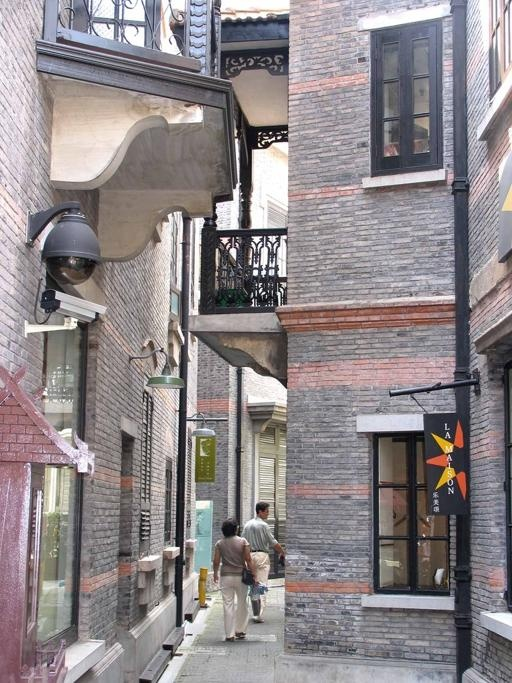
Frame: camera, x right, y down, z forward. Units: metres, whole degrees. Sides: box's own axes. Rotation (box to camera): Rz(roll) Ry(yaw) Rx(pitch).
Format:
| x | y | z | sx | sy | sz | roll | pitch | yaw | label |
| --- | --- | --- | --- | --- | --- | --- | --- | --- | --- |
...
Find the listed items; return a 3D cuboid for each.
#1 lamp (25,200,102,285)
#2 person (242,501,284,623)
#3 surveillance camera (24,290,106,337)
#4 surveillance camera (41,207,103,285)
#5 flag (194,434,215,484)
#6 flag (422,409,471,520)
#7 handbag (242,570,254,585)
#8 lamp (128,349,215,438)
| x | y | z | sx | sy | sz | roll | pitch | yaw | label |
| --- | --- | --- | --- | --- | --- | --- | --- | --- | --- |
| -1.196 | -0.573 | 5.514 | 0.401 | 0.505 | 0.420 | 2 | 0 | -12 | lamp |
| 0.069 | 3.164 | 13.228 | 0.632 | 1.920 | 0.722 | -1 | -5 | 11 | person |
| -1.184 | -0.186 | 5.483 | 0.399 | 0.338 | 0.453 | 3 | -3 | 0 | surveillance camera |
| -1.136 | -0.596 | 5.510 | 0.339 | 0.399 | 0.389 | 6 | -14 | -29 | surveillance camera |
| -0.933 | 2.133 | 16.340 | 0.328 | 0.786 | 0.753 | 0 | -13 | -7 | flag |
| 1.618 | 1.025 | 7.597 | 0.333 | 0.834 | 0.127 | -4 | -12 | 14 | flag |
| -0.108 | 3.063 | 11.728 | 0.071 | 0.155 | 0.154 | -15 | -14 | 16 | handbag |
| -0.937 | 0.590 | 10.650 | 0.871 | 1.358 | 0.896 | 8 | -6 | -33 | lamp |
